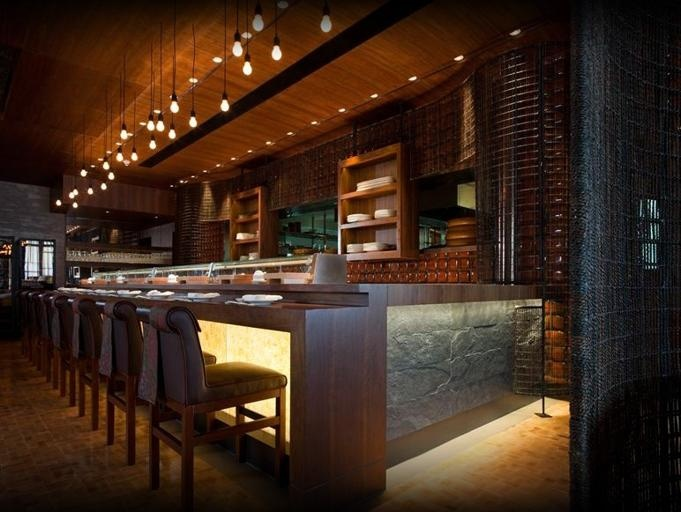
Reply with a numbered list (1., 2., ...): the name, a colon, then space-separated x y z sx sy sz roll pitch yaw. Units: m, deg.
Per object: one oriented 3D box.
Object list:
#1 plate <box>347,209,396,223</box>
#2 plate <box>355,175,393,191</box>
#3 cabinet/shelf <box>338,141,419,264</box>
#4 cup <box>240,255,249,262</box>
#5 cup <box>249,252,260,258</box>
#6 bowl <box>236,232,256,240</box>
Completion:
1. plate: 0.395 -0.481 6.470 0.340 0.093 0.265 -3 -3 33
2. plate: 0.419 -0.882 6.514 0.554 0.153 0.078 -3 -3 40
3. cabinet/shelf: 0.490 -0.628 6.503 0.538 1.905 1.382 4 -6 -30
4. cup: -1.514 0.048 8.257 0.094 0.062 0.096 1 -5 0
5. cup: -1.384 0.005 8.509 0.159 0.102 0.159 1 -4 0
6. bowl: -1.583 -0.313 8.762 0.160 0.079 0.204 -3 -7 35
